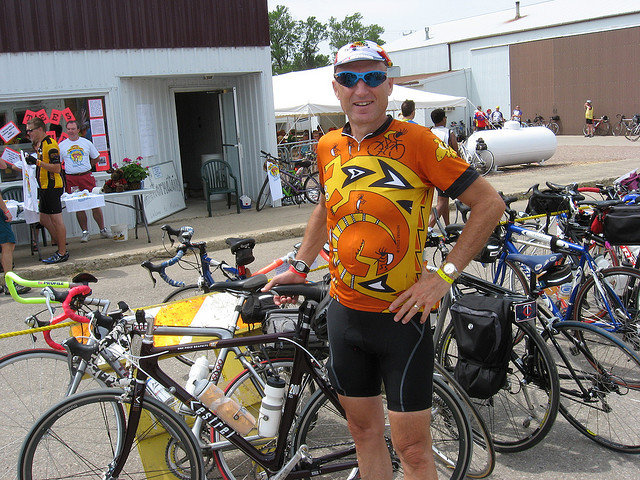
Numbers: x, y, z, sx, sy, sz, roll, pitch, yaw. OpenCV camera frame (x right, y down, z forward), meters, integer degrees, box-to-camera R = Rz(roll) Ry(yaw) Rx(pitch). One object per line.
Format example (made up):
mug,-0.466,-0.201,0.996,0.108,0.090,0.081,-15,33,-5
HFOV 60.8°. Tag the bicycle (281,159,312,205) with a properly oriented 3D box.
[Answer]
bicycle,-0.591,-1.469,13.574,0.701,1.099,1.402,-4,12,3

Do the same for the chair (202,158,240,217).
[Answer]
chair,-2.301,-1.315,12.832,0.777,1.209,1.746,-7,12,-8

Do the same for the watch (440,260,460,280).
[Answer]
watch,0.632,0.129,2.607,0.056,0.088,0.084,-45,-14,16

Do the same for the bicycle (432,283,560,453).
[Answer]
bicycle,1.149,0.860,3.523,0.597,1.078,1.019,7,13,35

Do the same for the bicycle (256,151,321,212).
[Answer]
bicycle,-0.654,-1.476,13.273,1.885,1.400,0.966,-6,-12,-8

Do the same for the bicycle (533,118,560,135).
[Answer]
bicycle,14.705,-7.427,35.206,1.217,0.978,2.024,3,15,34

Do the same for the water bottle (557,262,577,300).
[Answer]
water bottle,1.912,0.303,4.197,0.141,0.268,0.177,19,-20,-15

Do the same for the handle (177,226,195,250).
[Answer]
handle,-1.301,-0.061,5.312,0.136,0.211,0.651,-8,13,-13

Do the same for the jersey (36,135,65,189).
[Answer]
jersey,-4.406,-1.269,8.937,0.357,0.928,0.386,-6,12,-29

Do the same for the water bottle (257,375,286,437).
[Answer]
water bottle,-0.273,0.937,3.086,0.116,0.362,0.129,18,13,35

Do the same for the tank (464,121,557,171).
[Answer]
tank,6.370,-3.346,18.663,3.473,1.878,1.419,-9,9,-25

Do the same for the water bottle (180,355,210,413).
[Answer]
water bottle,-0.680,0.761,3.049,0.257,0.264,0.181,-1,13,-14

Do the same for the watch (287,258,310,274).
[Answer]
watch,-0.114,0.143,3.177,0.094,0.085,0.094,20,-18,-7

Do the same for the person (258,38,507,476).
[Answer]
person,0.380,0.174,2.719,0.870,2.311,0.472,0,11,22

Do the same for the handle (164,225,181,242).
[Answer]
handle,-1.413,-0.090,5.283,0.130,0.102,0.315,-17,10,-12

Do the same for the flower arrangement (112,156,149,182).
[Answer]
flower arrangement,-3.479,-1.340,10.337,0.473,0.326,0.532,4,37,-6

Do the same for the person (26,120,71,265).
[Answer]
person,-4.547,-0.859,9.142,0.540,2.309,1.194,-10,12,-25

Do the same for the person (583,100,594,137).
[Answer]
person,15.946,-7.199,32.159,0.428,2.069,1.572,1,13,27

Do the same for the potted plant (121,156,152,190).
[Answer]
potted plant,-3.522,-1.267,10.407,0.634,0.669,0.601,6,13,43

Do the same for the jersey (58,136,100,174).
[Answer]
jersey,-4.488,-1.598,10.116,0.772,0.695,0.306,-7,6,-35

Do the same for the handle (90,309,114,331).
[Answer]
handle,-1.224,0.442,3.064,0.126,0.092,0.081,-4,8,-26

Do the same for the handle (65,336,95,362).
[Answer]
handle,-1.352,0.585,3.077,0.128,0.058,0.131,33,12,21

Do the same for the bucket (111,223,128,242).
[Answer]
bucket,-3.740,-0.159,10.271,0.278,0.281,0.269,-1,13,0

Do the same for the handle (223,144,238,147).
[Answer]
handle,-2.208,-2.373,13.463,0.041,0.099,0.599,4,6,-38

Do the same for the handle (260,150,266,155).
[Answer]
handle,-1.292,-2.057,12.619,0.077,0.074,0.285,1,11,-23

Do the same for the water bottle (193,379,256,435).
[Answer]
water bottle,-0.537,0.938,3.068,0.122,0.421,0.150,-33,19,47

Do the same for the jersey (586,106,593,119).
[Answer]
jersey,15.699,-7.427,31.732,0.288,0.645,0.674,-1,12,21

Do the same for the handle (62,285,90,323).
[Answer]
handle,-1.435,0.387,3.286,0.187,0.219,0.074,-4,-11,31
